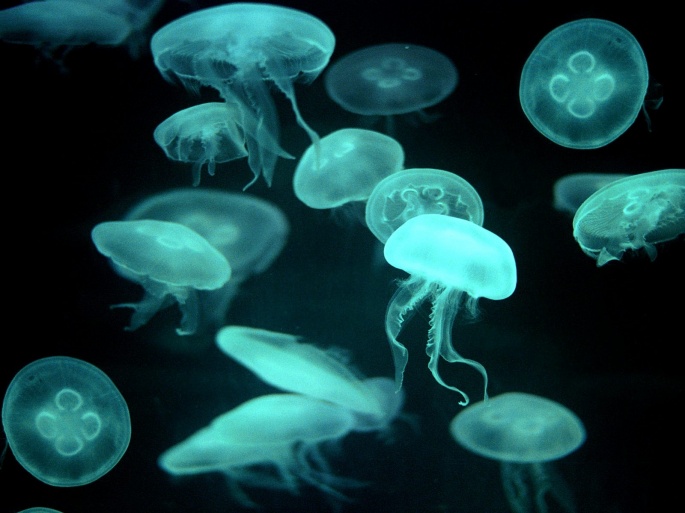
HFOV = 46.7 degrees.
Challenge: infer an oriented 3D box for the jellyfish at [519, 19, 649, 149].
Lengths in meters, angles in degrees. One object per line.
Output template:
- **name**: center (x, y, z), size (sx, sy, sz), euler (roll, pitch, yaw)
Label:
- **jellyfish**: center (2.016, -1.345, 6.357), size (0.766, 0.998, 0.932), euler (-17, 22, -32)

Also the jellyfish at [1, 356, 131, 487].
- **jellyfish**: center (-2.106, 1.267, 6.065), size (0.959, 0.987, 0.103), euler (1, -6, -2)
